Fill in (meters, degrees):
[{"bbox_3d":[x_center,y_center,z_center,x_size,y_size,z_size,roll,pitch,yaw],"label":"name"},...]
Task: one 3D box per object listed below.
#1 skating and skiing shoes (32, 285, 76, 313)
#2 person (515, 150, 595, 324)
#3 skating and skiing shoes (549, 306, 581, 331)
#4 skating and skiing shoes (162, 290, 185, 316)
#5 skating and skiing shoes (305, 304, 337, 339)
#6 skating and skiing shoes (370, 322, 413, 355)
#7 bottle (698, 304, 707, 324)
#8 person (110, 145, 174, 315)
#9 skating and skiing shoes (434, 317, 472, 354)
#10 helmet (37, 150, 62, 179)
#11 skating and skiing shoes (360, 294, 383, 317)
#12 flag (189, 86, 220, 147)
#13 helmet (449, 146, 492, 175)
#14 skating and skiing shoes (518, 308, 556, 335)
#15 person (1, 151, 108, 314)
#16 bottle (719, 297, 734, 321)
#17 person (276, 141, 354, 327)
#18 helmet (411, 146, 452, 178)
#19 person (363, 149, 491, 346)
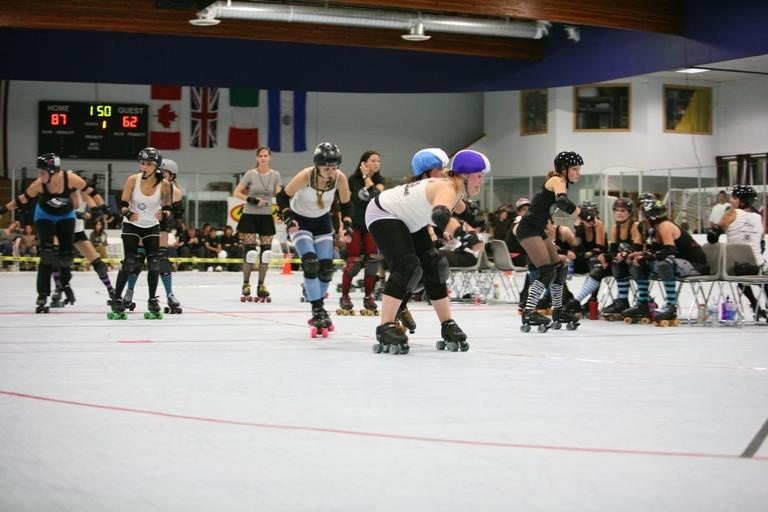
[{"bbox_3d":[-3.636,0.477,8.901,0.179,0.266,0.636,-1,-4,-3],"label":"skating and skiing shoes"},{"bbox_3d":[1.643,-0.161,8.116,0.632,1.773,0.882,1,3,9],"label":"person"},{"bbox_3d":[1.820,0.630,8.037,0.343,0.253,0.163,-2,0,17],"label":"skating and skiing shoes"},{"bbox_3d":[-2.313,0.541,8.877,0.145,0.206,0.443,0,-7,-17],"label":"skating and skiing shoes"},{"bbox_3d":[-0.560,0.573,7.180,0.194,0.269,0.263,0,3,-2],"label":"skating and skiing shoes"},{"bbox_3d":[0.056,0.635,6.341,0.277,0.242,0.193,0,3,-1],"label":"skating and skiing shoes"},{"bbox_3d":[3.459,0.618,8.782,0.094,0.196,0.332,2,3,21],"label":"bottle"},{"bbox_3d":[-2.497,-0.240,8.238,0.622,1.733,0.452,-1,4,-19],"label":"person"},{"bbox_3d":[0.561,0.652,6.523,0.178,0.206,0.343,0,-1,-19],"label":"skating and skiing shoes"},{"bbox_3d":[-3.528,-0.965,8.507,0.204,0.255,0.420,-1,3,-24],"label":"helmet"},{"bbox_3d":[-0.126,0.571,9.090,0.161,0.238,0.242,3,-7,-27],"label":"skating and skiing shoes"},{"bbox_3d":[-5.169,-3.974,23.374,0.839,1.690,0.353,-1,4,-14],"label":"flag"},{"bbox_3d":[0.724,-0.782,6.576,0.350,0.197,0.251,3,0,-7],"label":"helmet"},{"bbox_3d":[1.471,0.624,7.833,0.276,0.214,0.320,2,4,31],"label":"skating and skiing shoes"},{"bbox_3d":[-3.594,-0.265,8.796,0.694,1.687,0.908,-1,4,-27],"label":"person"},{"bbox_3d":[3.646,0.566,8.560,0.136,0.220,0.217,2,3,20],"label":"bottle"},{"bbox_3d":[-0.645,-0.148,7.399,0.606,1.704,0.893,0,3,2],"label":"person"},{"bbox_3d":[0.384,-0.781,6.743,0.362,0.259,0.271,1,5,3],"label":"helmet"},{"bbox_3d":[0.324,-0.052,6.443,0.927,1.601,0.864,0,3,-2],"label":"person"}]
